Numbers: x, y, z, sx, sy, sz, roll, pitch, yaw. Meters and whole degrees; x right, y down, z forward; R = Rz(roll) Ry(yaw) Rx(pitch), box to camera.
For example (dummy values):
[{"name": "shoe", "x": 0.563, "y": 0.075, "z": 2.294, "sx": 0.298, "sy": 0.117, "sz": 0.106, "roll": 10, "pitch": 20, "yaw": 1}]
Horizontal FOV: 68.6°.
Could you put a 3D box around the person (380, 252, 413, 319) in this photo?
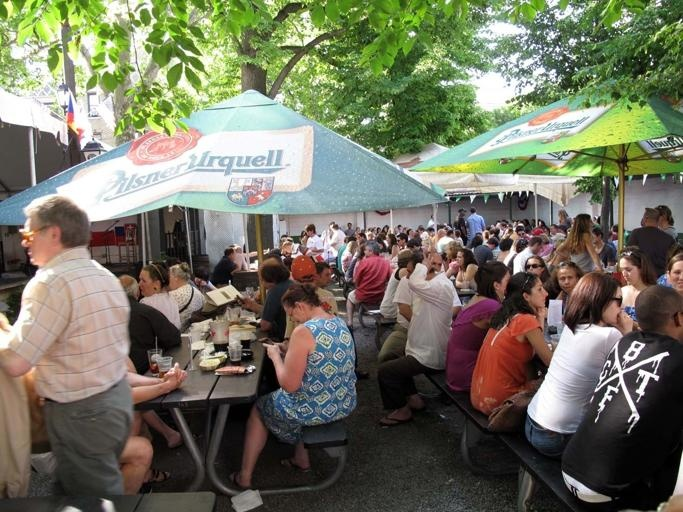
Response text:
[{"name": "person", "x": 0.796, "y": 0.355, "z": 7.407, "sx": 0.544, "sy": 1.022, "sz": 0.391, "roll": -14, "pitch": 34, "yaw": -23}]

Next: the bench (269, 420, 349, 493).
[{"name": "bench", "x": -0.347, "y": 1.666, "z": 4.365, "sx": 0.626, "sy": 0.745, "sz": 0.697, "roll": -2, "pitch": 10, "yaw": -15}]

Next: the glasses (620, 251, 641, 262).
[{"name": "glasses", "x": 3.015, "y": -0.013, "z": 5.249, "sx": 0.123, "sy": 0.033, "sz": 0.115, "roll": -3, "pitch": -30, "yaw": 15}]

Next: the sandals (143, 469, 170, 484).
[{"name": "sandals", "x": -1.668, "y": 1.983, "z": 4.530, "sx": 0.203, "sy": 0.052, "sz": 0.076, "roll": 13, "pitch": 19, "yaw": -21}]

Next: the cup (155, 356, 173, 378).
[{"name": "cup", "x": -1.492, "y": 0.931, "z": 4.303, "sx": 0.145, "sy": 0.152, "sz": 0.145, "roll": 1, "pitch": -5, "yaw": 0}]

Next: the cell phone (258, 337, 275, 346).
[{"name": "cell phone", "x": -0.737, "y": 0.831, "z": 4.915, "sx": 0.120, "sy": 0.069, "sz": 0.185, "roll": 12, "pitch": -15, "yaw": -19}]

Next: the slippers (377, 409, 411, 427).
[{"name": "slippers", "x": 0.584, "y": 1.803, "z": 5.628, "sx": 0.352, "sy": 0.129, "sz": 0.178, "roll": 2, "pitch": 1, "yaw": -7}]

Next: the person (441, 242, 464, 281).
[{"name": "person", "x": 2.067, "y": 0.122, "z": 9.444, "sx": 0.460, "sy": 0.799, "sz": 0.378, "roll": 2, "pitch": 24, "yaw": -7}]

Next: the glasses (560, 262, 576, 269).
[{"name": "glasses", "x": 2.514, "y": 0.099, "z": 5.571, "sx": 0.101, "sy": 0.026, "sz": 0.097, "roll": 21, "pitch": -8, "yaw": -22}]

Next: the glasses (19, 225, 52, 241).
[{"name": "glasses", "x": -1.768, "y": -0.121, "z": 2.931, "sx": 0.117, "sy": 0.034, "sz": 0.116, "roll": -4, "pitch": 14, "yaw": 6}]

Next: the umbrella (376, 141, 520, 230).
[{"name": "umbrella", "x": 2.689, "y": -1.974, "z": 13.164, "sx": 4.227, "sy": 1.674, "sz": 3.850, "roll": -7, "pitch": 13, "yaw": -27}]

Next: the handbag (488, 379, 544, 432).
[{"name": "handbag", "x": 1.339, "y": 1.191, "z": 3.957, "sx": 0.454, "sy": 0.148, "sz": 0.244, "roll": -39, "pitch": 17, "yaw": -10}]

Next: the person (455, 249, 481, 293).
[{"name": "person", "x": 2.160, "y": 0.218, "z": 8.596, "sx": 0.474, "sy": 0.694, "sz": 0.503, "roll": 0, "pitch": 1, "yaw": -15}]

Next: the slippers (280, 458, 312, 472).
[{"name": "slippers", "x": -0.438, "y": 1.979, "z": 4.757, "sx": 0.257, "sy": 0.060, "sz": 0.103, "roll": 17, "pitch": 24, "yaw": 33}]

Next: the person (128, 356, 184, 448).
[{"name": "person", "x": -1.554, "y": 1.193, "z": 4.194, "sx": 0.503, "sy": 0.295, "sz": 1.159, "roll": 1, "pitch": 7, "yaw": -7}]

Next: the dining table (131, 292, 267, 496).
[{"name": "dining table", "x": -1.081, "y": 0.816, "z": 4.053, "sx": 1.006, "sy": 0.630, "sz": 2.350, "roll": 0, "pitch": 2, "yaw": -4}]

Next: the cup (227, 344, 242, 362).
[{"name": "cup", "x": -0.939, "y": 0.851, "z": 4.486, "sx": 0.161, "sy": 0.138, "sz": 0.155, "roll": 0, "pitch": 4, "yaw": 0}]
